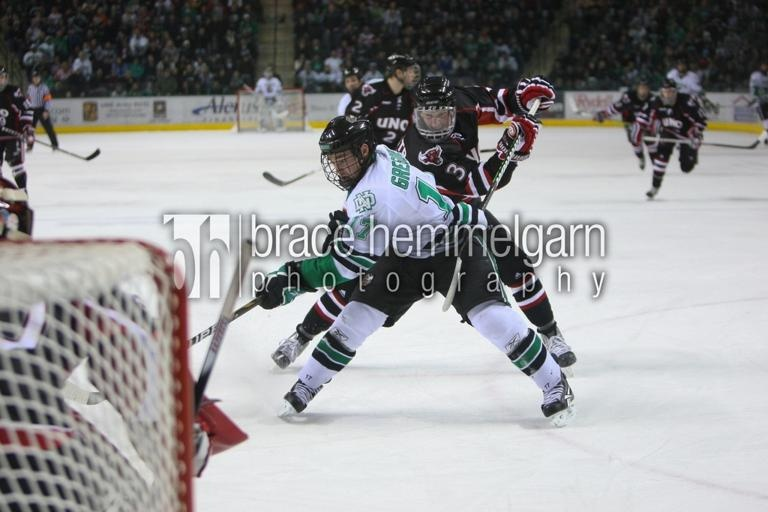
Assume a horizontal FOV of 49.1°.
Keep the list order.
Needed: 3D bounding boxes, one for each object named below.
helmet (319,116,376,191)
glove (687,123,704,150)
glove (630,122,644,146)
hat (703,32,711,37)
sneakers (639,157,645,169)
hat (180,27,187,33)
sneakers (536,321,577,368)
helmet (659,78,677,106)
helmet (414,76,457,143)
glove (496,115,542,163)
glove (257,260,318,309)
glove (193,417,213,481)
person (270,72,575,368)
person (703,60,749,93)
[{"bbox_3d":[-0.161,-0.469,3.875,0.241,0.329,0.171,6,11,14],"label":"helmet"},{"bbox_3d":[3.389,-1.319,9.216,0.115,0.191,0.261,2,54,13],"label":"glove"},{"bbox_3d":[2.978,-1.444,9.962,0.150,0.295,0.215,-3,28,9],"label":"glove"},{"bbox_3d":[6.501,-4.501,17.053,0.105,0.083,0.123,-1,6,6],"label":"hat"},{"bbox_3d":[3.179,-1.162,10.443,0.053,0.071,0.177,-1,50,24],"label":"sneakers"},{"bbox_3d":[-4.149,-4.681,17.445,0.087,0.089,0.105,4,-15,13],"label":"hat"},{"bbox_3d":[0.910,0.473,4.449,0.155,0.121,0.360,49,5,4],"label":"sneakers"},{"bbox_3d":[3.166,-1.825,9.403,0.185,0.291,0.439,7,11,17],"label":"helmet"},{"bbox_3d":[0.342,-0.802,4.577,0.247,0.316,0.327,2,43,10],"label":"helmet"},{"bbox_3d":[0.738,-0.649,4.640,0.123,0.280,0.217,35,9,10],"label":"glove"},{"bbox_3d":[-0.456,0.133,3.890,0.260,0.232,0.093,2,11,-6],"label":"glove"},{"bbox_3d":[-0.660,0.724,3.098,0.074,0.191,0.141,-1,-9,7],"label":"glove"},{"bbox_3d":[0.144,0.050,4.206,1.364,1.430,1.097,-2,-1,5],"label":"person"},{"bbox_3d":[6.372,-3.354,15.639,0.875,0.249,0.940,2,24,12],"label":"person"}]
